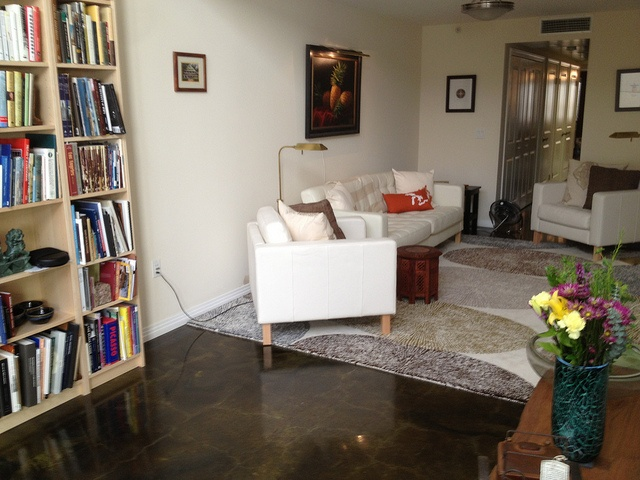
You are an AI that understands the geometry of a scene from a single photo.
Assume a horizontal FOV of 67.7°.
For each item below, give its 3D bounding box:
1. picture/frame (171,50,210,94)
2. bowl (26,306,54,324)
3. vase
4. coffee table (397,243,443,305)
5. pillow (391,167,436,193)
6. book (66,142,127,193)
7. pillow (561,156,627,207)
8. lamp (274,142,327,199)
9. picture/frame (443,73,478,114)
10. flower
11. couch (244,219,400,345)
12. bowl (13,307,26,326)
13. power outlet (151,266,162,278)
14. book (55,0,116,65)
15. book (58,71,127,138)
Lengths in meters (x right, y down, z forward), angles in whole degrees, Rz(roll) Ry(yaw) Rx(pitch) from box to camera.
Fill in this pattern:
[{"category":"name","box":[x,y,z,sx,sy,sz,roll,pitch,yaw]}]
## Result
[{"category":"picture/frame","box":[-1.033,-1.339,3.815,0.025,0.292,0.367,10,20,25]},{"category":"bowl","box":[-1.650,0.430,2.815,0.113,0.048,0.105,2,8,0]},{"category":"vase","box":[0.821,0.534,1.507,0.154,0.308,0.142,5,18,26]},{"category":"coffee table","box":[0.913,0.316,4.396,0.503,0.457,0.510,2,10,20]},{"category":"pillow","box":[1.212,-0.772,6.206,0.595,0.478,0.210,-3,2,-10]},{"category":"book","box":[-1.391,-0.453,2.936,0.175,0.283,0.311,9,16,29]},{"category":"pillow","box":[3.411,-0.667,5.895,0.285,0.628,0.735,-16,20,-27]},{"category":"lamp","box":[-0.203,-0.717,4.908,0.484,0.589,1.017,-4,16,-4]},{"category":"picture/frame","box":[2.131,-2.200,7.095,0.645,0.656,0.052,7,14,30]},{"category":"flower","box":[0.843,0.205,1.530,0.287,0.332,0.287,4,18,24]},{"category":"couch","box":[-0.143,0.350,3.987,1.399,0.713,1.411,2,4,37]},{"category":"bowl","box":[-1.783,0.450,2.795,0.093,0.058,0.089,4,7,-1]},{"category":"power outlet","box":[-1.285,0.244,3.737,0.013,0.093,0.102,12,12,30]},{"category":"book","box":[-1.387,-1.209,2.972,0.378,0.433,0.476,-9,24,-22]},{"category":"book","box":[-1.391,-0.814,2.877,0.184,0.391,0.448,1,11,23]}]
